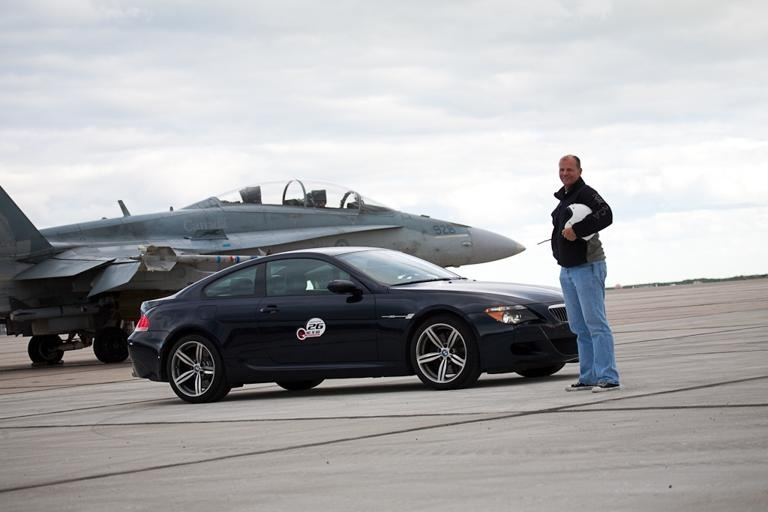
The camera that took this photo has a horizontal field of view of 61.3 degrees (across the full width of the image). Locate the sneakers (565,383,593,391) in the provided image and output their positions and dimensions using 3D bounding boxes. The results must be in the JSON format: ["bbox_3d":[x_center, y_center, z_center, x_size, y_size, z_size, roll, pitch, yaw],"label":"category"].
[{"bbox_3d":[2.231,1.478,7.406,0.345,0.074,0.095,2,-5,-1],"label":"sneakers"}]

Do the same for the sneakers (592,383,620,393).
[{"bbox_3d":[2.465,1.448,7.185,0.364,0.083,0.104,2,-8,-10],"label":"sneakers"}]

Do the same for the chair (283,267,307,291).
[{"bbox_3d":[-1.219,0.317,9.013,0.453,0.381,0.271,-3,-10,-5],"label":"chair"}]
